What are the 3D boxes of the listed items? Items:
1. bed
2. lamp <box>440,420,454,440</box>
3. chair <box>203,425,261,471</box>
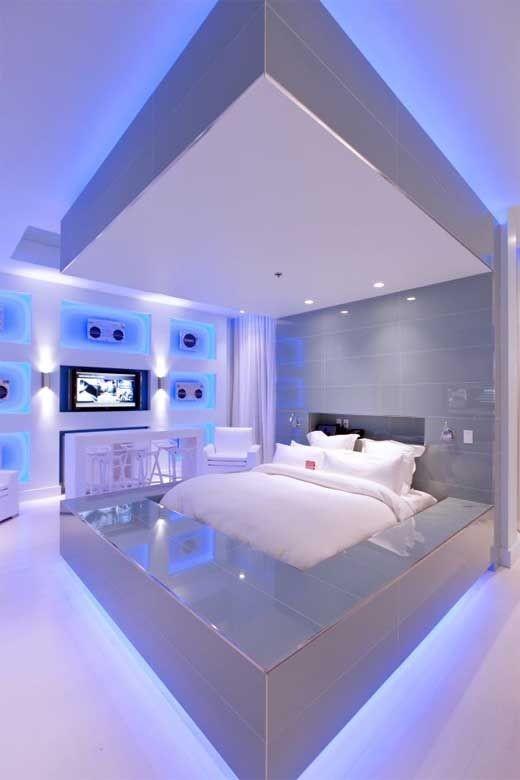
[{"bbox_3d":[0.293,0.628,3.195,1.440,0.336,1.679,3,9,44],"label":"bed"},{"bbox_3d":[1.309,0.236,3.334,0.031,0.128,0.101,-5,6,-15],"label":"lamp"},{"bbox_3d":[-0.316,0.591,5.487,0.462,0.497,0.460,-1,-8,6],"label":"chair"}]
